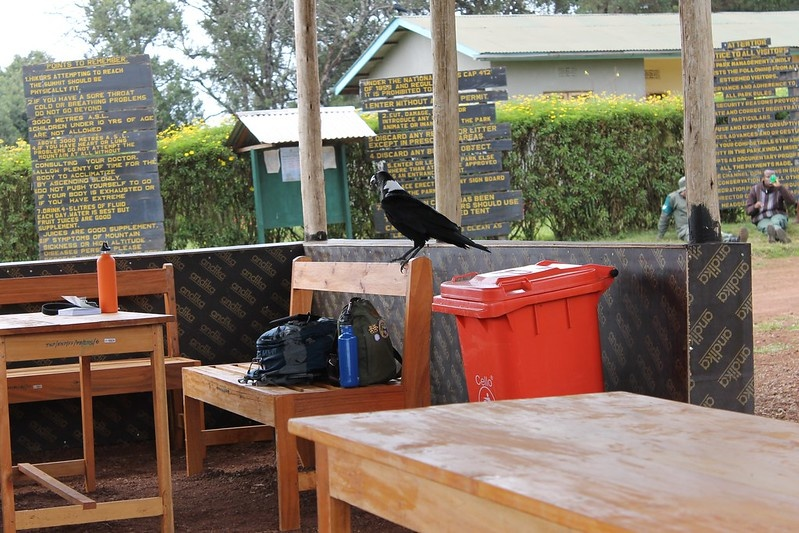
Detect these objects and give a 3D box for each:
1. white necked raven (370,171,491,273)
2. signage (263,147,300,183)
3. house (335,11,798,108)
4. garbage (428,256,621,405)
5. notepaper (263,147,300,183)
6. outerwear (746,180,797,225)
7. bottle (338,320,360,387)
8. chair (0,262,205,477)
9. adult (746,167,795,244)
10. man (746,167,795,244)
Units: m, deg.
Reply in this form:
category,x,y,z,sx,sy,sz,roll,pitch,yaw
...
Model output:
category,x,y,z,sx,sy,sz,roll,pitch,yaw
white necked raven,0.249,-0.443,10.844,1.133,0.936,0.408,-2,-3,12
signage,-1.927,-1.676,18.959,0.639,0.691,0.371,-2,19,1
house,4.280,-5.064,26.782,7.293,2.073,5.194,-2,3,-19
garbage,0.985,0.542,10.036,1.236,1.416,1.084,-6,0,-24
notepaper,-1.927,-1.676,18.959,0.639,0.691,0.371,-2,19,1
outerwear,6.574,-1.047,20.697,0.973,1.024,0.633,-2,-7,4
bottle,-0.456,0.783,10.203,0.178,0.550,0.106,-5,8,-4
chair,-2.877,0.975,10.986,1.887,1.645,0.751,-1,-1,-24
adult,6.542,-1.059,20.508,0.810,1.248,0.769,-2,8,17
man,6.542,-1.059,20.508,0.810,1.248,0.769,-2,8,17
